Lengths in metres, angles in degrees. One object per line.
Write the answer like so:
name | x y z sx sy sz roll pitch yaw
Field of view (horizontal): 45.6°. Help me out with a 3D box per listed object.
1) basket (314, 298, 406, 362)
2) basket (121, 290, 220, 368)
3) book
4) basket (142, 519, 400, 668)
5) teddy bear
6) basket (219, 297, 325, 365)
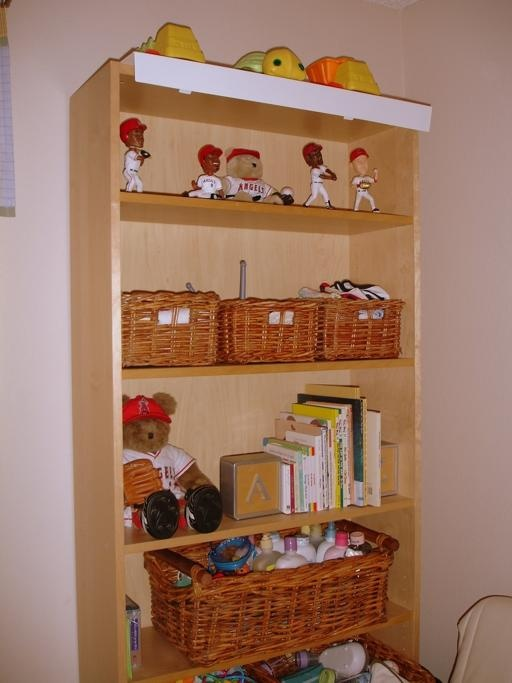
basket | 0.232 -0.025 1.392 0.229 0.146 0.137 1 -4 -28
basket | -0.179 -0.022 1.198 0.239 0.156 0.135 -1 -1 -31
book | 0.134 0.230 1.509 0.285 0.327 0.280 -1 1 -33
basket | 0.031 0.497 1.359 0.450 0.188 0.270 0 -2 -33
teddy bear | -0.188 0.242 1.293 0.189 0.249 0.334 -2 6 -13
basket | 0.036 -0.020 1.274 0.202 0.124 0.145 0 -2 -31
